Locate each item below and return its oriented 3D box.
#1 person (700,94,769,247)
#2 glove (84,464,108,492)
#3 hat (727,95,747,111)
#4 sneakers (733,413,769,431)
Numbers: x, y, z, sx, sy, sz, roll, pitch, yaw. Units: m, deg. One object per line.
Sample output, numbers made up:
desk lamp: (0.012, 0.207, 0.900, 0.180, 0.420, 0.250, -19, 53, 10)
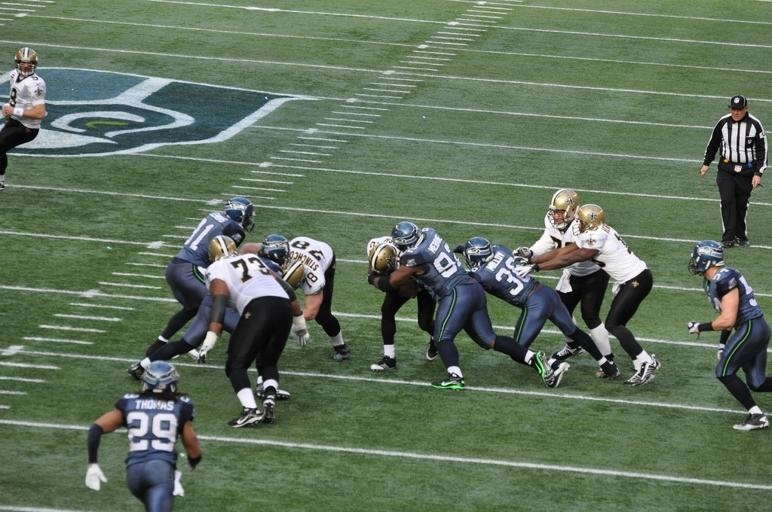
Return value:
person: (4.459, -1.096, 17.360, 0.637, 1.950, 0.622, 2, 14, 3)
glove: (-2.527, 1.960, 11.811, 0.153, 0.281, 0.254, -1, 12, -11)
hat: (4.416, -1.983, 17.236, 0.229, 0.126, 0.287, 8, 25, 33)
sneakers: (3.622, 1.692, 13.567, 0.459, 0.125, 0.146, -2, 16, -1)
